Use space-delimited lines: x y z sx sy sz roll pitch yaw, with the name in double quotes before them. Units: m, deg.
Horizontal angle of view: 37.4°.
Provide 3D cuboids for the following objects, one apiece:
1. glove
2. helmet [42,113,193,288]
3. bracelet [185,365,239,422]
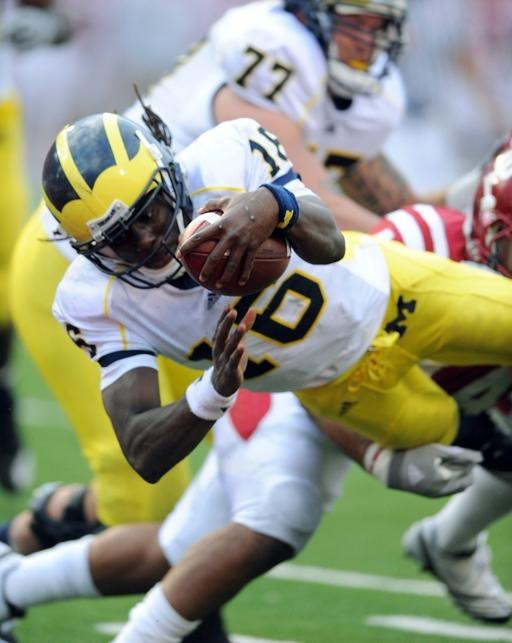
"glove" 0.364 0.319 1.728 0.279 0.119 0.219 -4 13 1
"helmet" -0.221 -0.209 1.304 0.249 0.280 0.242 -25 34 -11
"bracelet" -0.080 0.129 1.270 0.088 0.089 0.073 17 39 1
